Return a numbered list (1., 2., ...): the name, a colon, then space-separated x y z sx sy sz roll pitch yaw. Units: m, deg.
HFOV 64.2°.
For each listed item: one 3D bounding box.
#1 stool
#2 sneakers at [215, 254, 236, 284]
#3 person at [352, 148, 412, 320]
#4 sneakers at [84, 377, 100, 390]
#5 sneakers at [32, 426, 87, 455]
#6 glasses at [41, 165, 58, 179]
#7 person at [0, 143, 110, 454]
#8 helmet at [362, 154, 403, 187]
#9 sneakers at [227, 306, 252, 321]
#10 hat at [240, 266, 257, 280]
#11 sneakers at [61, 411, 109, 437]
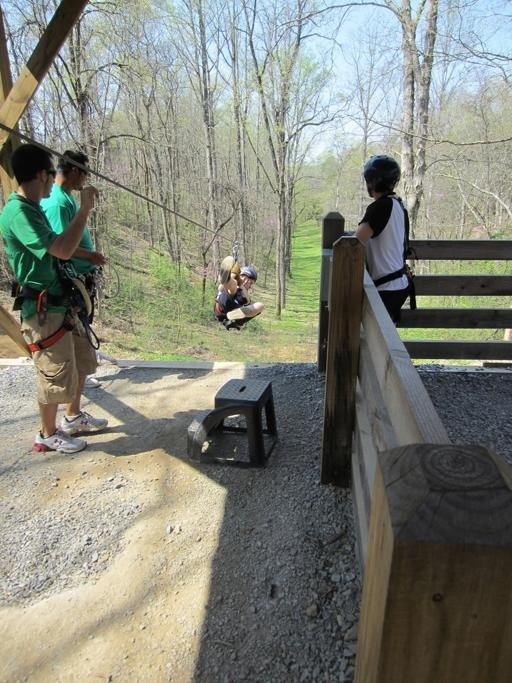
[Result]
1. stool: -0.155 0.555 3.090 0.613 0.510 0.603 4 15 10
2. sneakers: -0.275 -0.686 3.858 0.178 0.248 0.162 2 12 21
3. person: 0.882 -0.680 2.856 0.345 1.232 0.899 3 12 25
4. sneakers: -1.804 0.446 4.489 0.089 0.087 0.208 6 14 9
5. sneakers: -1.571 0.783 3.247 0.408 0.196 0.169 2 5 -9
6. glasses: -1.418 -1.162 2.776 0.093 0.031 0.091 5 6 9
7. person: -1.455 -0.213 2.982 0.578 2.258 0.747 -9 13 -29
8. helmet: 0.807 -1.174 2.774 0.199 0.232 0.248 -6 50 -7
9. sneakers: -0.175 -0.274 3.883 0.127 0.082 0.167 -17 13 -32
10. hat: -0.071 -0.709 4.097 0.168 0.145 0.127 1 39 -14
11. sneakers: -1.480 0.697 3.588 0.444 0.209 0.164 -3 17 -30
